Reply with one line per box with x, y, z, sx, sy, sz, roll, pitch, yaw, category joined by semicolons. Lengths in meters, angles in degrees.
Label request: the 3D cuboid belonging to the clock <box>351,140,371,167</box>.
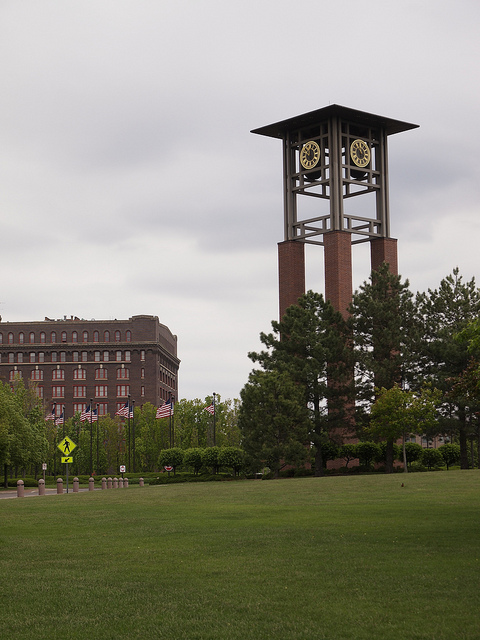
9.049;-12.552;106.259;0.113;1.680;1.669;-10;-44;38;clock
